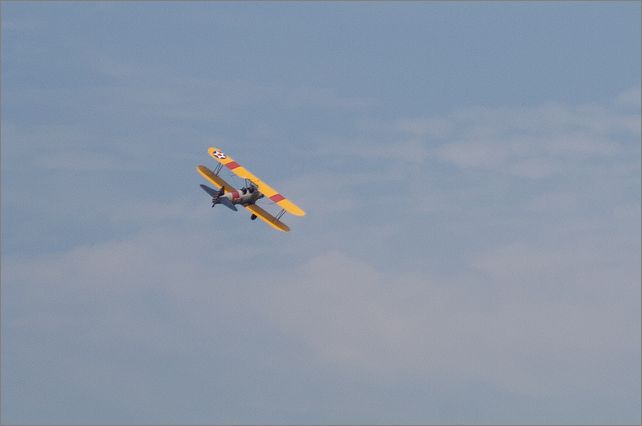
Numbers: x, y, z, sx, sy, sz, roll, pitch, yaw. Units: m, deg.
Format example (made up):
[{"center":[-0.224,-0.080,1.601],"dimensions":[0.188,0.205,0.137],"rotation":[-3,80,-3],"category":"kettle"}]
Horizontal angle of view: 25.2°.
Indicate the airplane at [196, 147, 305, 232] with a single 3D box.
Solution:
[{"center":[-7.493,-1.737,127.852],"dimensions":[11.105,7.413,3.401],"rotation":[36,119,22],"category":"airplane"}]
